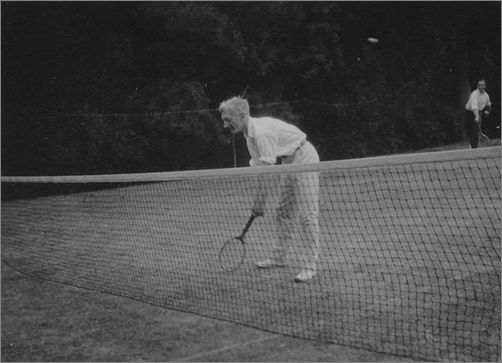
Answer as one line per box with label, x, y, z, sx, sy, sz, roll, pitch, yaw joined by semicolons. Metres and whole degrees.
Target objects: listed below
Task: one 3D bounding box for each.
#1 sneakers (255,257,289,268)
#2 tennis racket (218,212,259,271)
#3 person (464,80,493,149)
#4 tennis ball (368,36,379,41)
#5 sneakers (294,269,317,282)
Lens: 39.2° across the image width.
sneakers;0.319;1.259;11.135;0.513;0.230;0.193;2;-6;0
tennis racket;-0.234;1.047;11.195;0.434;1.153;0.183;28;3;4
person;5.660;-1.701;17.588;0.617;1.715;1.146;5;15;18
tennis ball;3.144;-3.647;17.964;0.272;0.112;0.158;2;15;6
sneakers;0.838;1.428;10.715;0.283;0.176;0.119;-12;7;15
